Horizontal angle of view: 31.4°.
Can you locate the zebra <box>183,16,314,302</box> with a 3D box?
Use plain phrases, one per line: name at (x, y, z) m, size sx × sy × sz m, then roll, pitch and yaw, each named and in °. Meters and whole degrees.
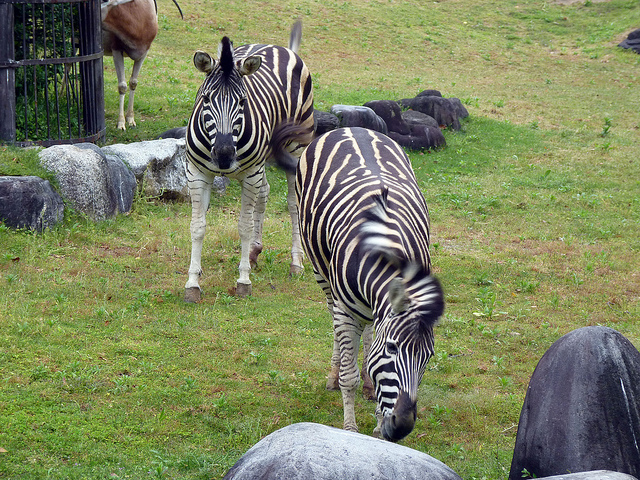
zebra at (-1.170, -1.173, 18.781) m, size 1.191 × 4.249 × 2.544 m, roll 9°, pitch 11°, yaw 30°
